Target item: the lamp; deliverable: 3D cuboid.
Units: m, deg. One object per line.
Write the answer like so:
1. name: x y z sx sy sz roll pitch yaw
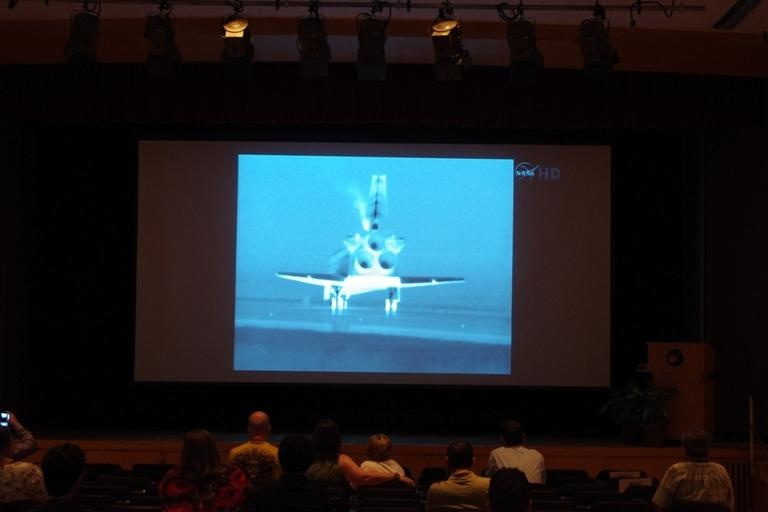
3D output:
1. lamp: -0.386 -2.959 11.712 5.917 1.227 0.496 0 -44 3
